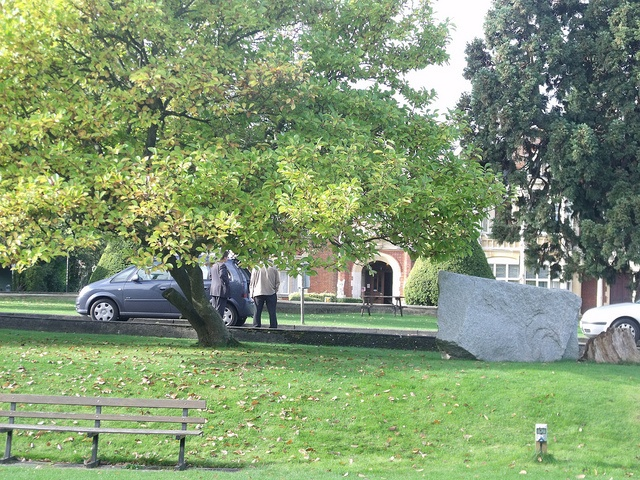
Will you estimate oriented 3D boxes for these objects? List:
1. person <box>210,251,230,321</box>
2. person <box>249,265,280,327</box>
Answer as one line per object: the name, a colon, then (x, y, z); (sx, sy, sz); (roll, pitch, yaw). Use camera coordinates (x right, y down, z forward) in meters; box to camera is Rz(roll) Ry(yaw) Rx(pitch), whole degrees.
person: (-2.474, 1.182, 19.209); (0.443, 1.372, 0.436); (-2, -4, 4)
person: (-1.421, 1.465, 20.082); (0.708, 1.541, 1.225); (-1, -5, -5)
